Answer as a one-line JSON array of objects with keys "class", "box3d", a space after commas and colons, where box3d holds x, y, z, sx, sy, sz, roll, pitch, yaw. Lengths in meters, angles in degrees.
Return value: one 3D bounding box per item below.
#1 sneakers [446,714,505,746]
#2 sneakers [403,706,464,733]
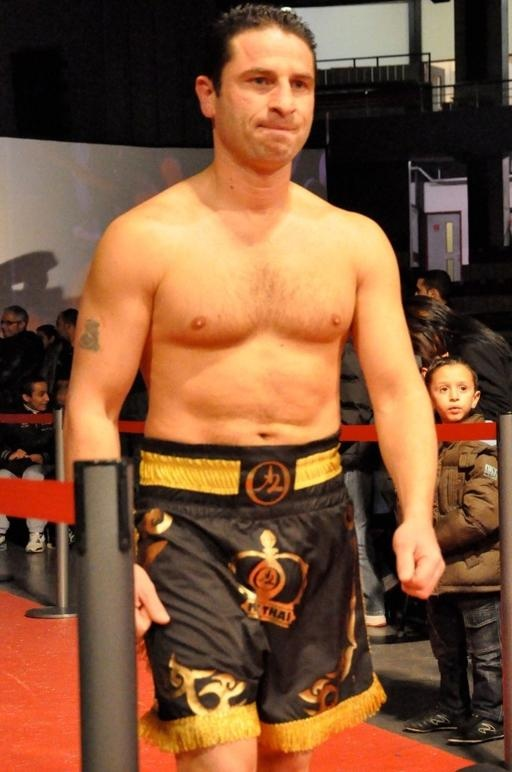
[{"class": "sneakers", "box3d": [0.742, 1.151, 2.749, 0.250, 0.077, 0.080, -2, -18, -9]}, {"class": "sneakers", "box3d": [0.619, 1.162, 2.847, 0.225, 0.066, 0.069, 1, -10, -6]}]
